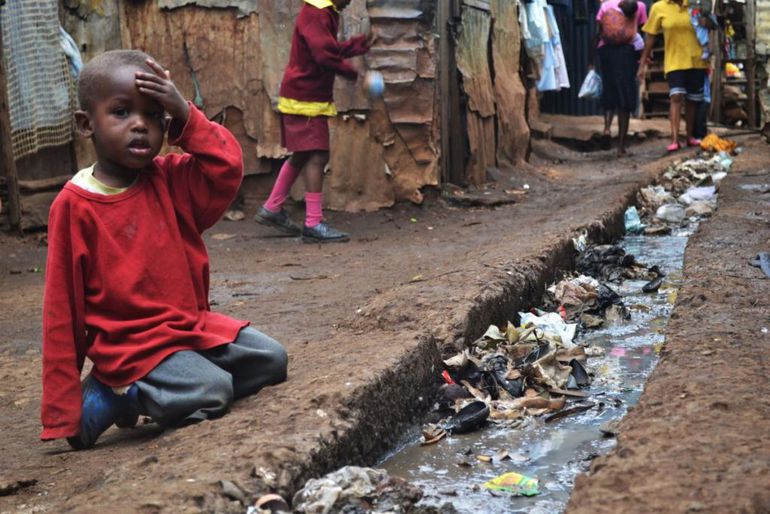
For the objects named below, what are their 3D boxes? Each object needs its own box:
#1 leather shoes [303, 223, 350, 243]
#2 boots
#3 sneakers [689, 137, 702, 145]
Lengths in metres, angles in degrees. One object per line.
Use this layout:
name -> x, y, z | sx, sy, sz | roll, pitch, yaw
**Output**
leather shoes -> -0.502, -0.208, 8.215 | 0.399, 0.170, 0.163 | -1, 12, -6
boots -> -1.385, 0.764, 4.725 | 0.327, 0.149, 0.384 | 0, 30, 7
sneakers -> 3.751, -1.395, 11.451 | 0.084, 0.087, 0.227 | 8, 10, 20
